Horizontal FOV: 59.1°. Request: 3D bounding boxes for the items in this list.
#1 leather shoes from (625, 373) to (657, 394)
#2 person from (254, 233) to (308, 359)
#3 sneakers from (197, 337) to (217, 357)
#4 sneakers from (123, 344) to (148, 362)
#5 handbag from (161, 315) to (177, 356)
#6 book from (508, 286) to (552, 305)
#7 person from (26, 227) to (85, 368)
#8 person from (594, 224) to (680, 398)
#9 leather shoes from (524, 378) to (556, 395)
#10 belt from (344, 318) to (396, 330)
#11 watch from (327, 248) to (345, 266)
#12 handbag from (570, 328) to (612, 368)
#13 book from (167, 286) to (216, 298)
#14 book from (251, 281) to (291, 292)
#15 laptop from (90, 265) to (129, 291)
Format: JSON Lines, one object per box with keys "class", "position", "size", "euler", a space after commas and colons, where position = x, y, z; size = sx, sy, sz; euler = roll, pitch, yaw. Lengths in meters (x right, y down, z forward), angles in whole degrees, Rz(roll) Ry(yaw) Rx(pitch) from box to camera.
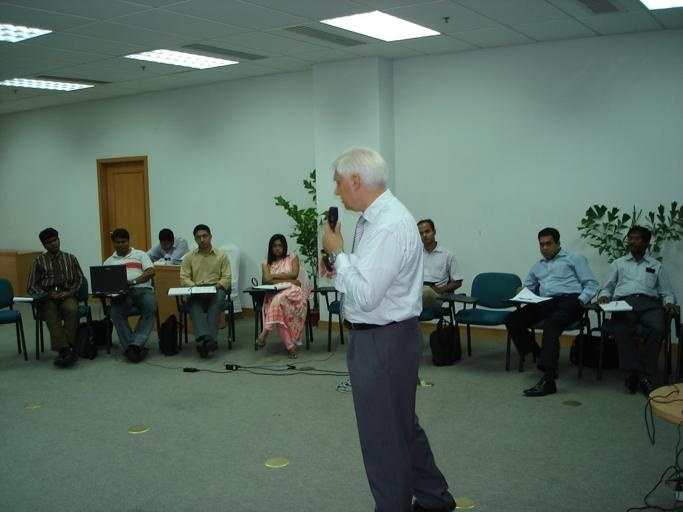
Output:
{"class": "leather shoes", "position": [2.696, 1.160, 5.444], "size": [0.240, 0.152, 0.238], "euler": [4, 11, 28]}
{"class": "person", "position": [-0.693, 0.451, 6.958], "size": [0.593, 1.313, 0.797], "euler": [-2, 9, -5]}
{"class": "sneakers", "position": [-1.503, 1.023, 6.756], "size": [0.065, 0.200, 0.133], "euler": [14, 22, 26]}
{"class": "sneakers", "position": [-2.282, 1.082, 6.669], "size": [0.116, 0.149, 0.328], "euler": [1, -10, -7]}
{"class": "handbag", "position": [-2.001, 0.918, 6.972], "size": [0.204, 0.454, 0.190], "euler": [-5, 10, -22]}
{"class": "book", "position": [1.840, 0.406, 5.918], "size": [0.218, 0.102, 0.215], "euler": [-14, -3, 35]}
{"class": "person", "position": [-3.175, 0.444, 6.774], "size": [0.593, 1.449, 0.832], "euler": [-6, 10, -29]}
{"class": "person", "position": [2.780, 0.474, 5.659], "size": [0.661, 1.418, 0.807], "euler": [3, 10, 24]}
{"class": "leather shoes", "position": [1.821, 1.206, 5.541], "size": [0.342, 0.162, 0.127], "euler": [-1, -1, -20]}
{"class": "belt", "position": [0.147, 0.384, 3.307], "size": [0.312, 0.061, 0.076], "euler": [3, 11, 27]}
{"class": "watch", "position": [-0.024, 0.004, 3.303], "size": [0.097, 0.067, 0.092], "euler": [-30, -5, 10]}
{"class": "handbag", "position": [2.545, 0.978, 6.106], "size": [0.302, 0.388, 0.518], "euler": [4, -5, -42]}
{"class": "book", "position": [-1.692, 0.405, 6.925], "size": [0.510, 0.125, 0.388], "euler": [-4, 10, -11]}
{"class": "book", "position": [-0.770, 0.369, 6.748], "size": [0.421, 0.108, 0.262], "euler": [-3, 10, -9]}
{"class": "laptop", "position": [-2.590, 0.262, 6.769], "size": [0.371, 0.295, 0.286], "euler": [0, 3, -5]}
